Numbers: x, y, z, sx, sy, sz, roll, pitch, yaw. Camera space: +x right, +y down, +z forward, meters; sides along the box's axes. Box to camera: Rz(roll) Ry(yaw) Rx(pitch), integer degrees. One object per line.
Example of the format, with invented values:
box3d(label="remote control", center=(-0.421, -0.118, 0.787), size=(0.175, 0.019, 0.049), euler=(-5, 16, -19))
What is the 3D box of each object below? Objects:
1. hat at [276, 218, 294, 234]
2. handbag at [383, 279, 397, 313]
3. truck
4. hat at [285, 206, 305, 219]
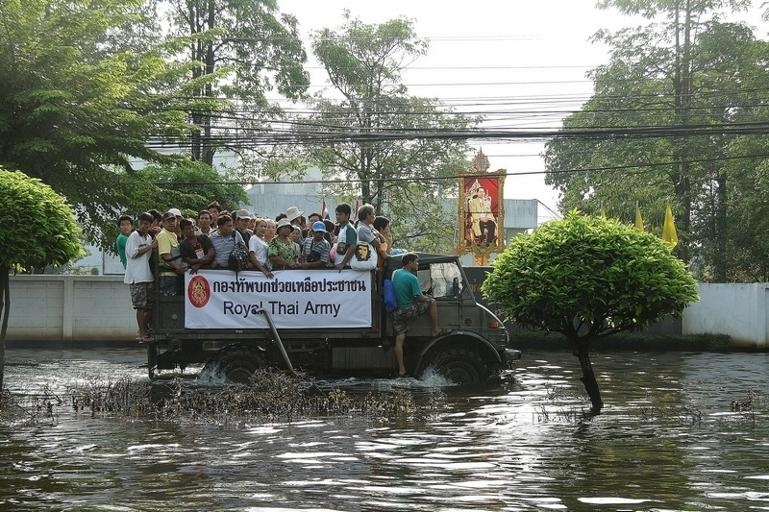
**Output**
box3d(label="hat", center=(-2.686, -0.837, 33.214), size=(0.405, 0.197, 0.332), euler=(3, -9, -35))
box3d(label="handbag", center=(0.116, 1.079, 33.051), size=(0.492, 0.704, 0.294), euler=(3, 3, 23))
box3d(label="truck", center=(-1.056, 2.055, 34.206), size=(10.915, 3.902, 3.508), euler=(-1, -7, 21))
box3d(label="hat", center=(-2.477, -1.242, 34.838), size=(0.636, 0.215, 0.568), euler=(-25, 15, -36))
